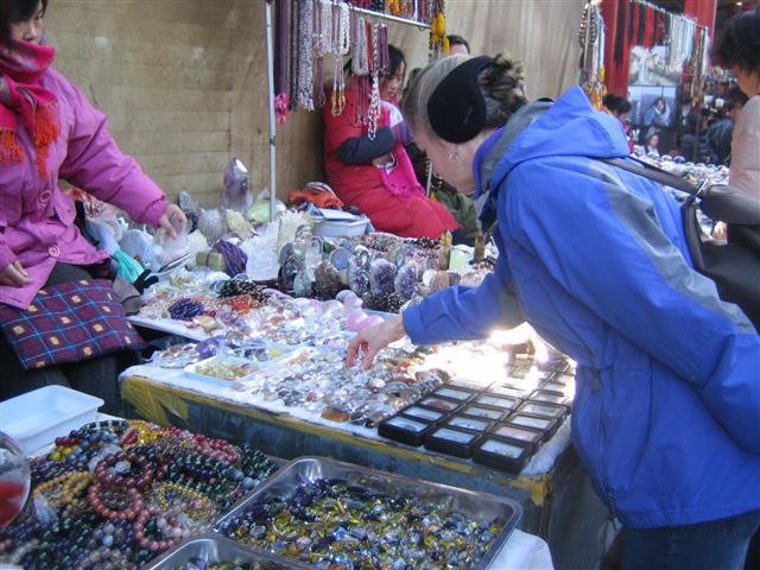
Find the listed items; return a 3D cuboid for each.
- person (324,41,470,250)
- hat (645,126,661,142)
[{"bbox_3d":[0.092,-0.818,4.352,1.019,1.881,0.751,20,35,24],"label":"person"},{"bbox_3d":[2.982,-1.657,6.383,0.117,0.167,0.153,10,15,39],"label":"hat"}]
